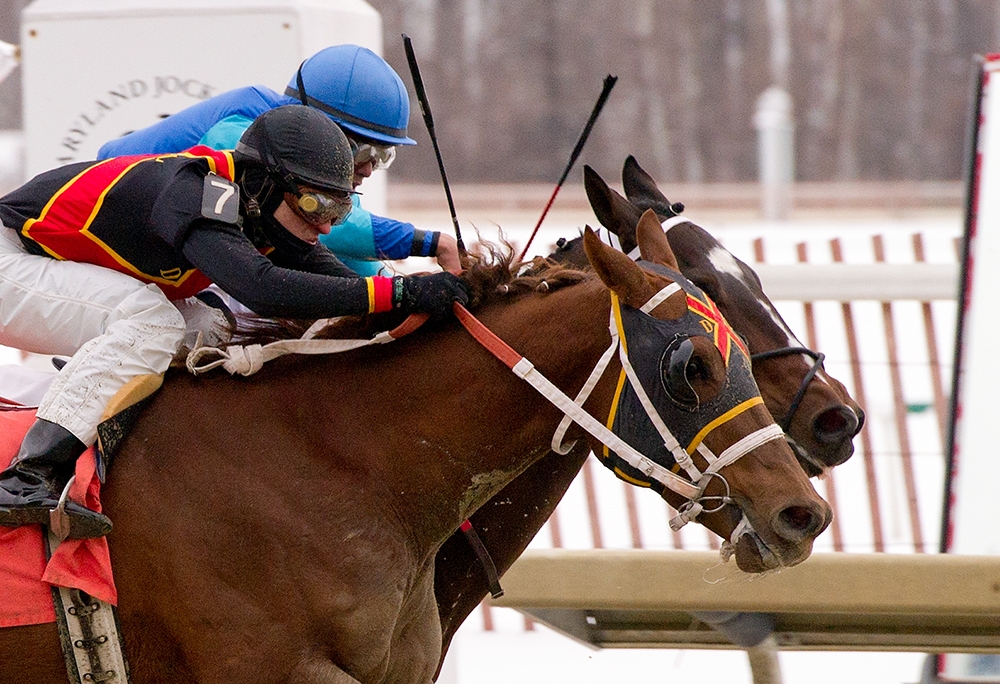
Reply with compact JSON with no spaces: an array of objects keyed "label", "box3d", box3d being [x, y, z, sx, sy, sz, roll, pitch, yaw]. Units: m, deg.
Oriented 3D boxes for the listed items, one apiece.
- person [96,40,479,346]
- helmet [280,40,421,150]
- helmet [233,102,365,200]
[{"label":"person","box3d":[-1.051,-0.353,7.110,1.787,1.402,0.964,4,24,9]},{"label":"helmet","box3d":[-0.616,-1.051,7.058,0.606,0.309,0.460,19,22,15]},{"label":"helmet","box3d":[-0.750,-0.705,6.278,0.541,0.249,0.401,10,10,25]}]
